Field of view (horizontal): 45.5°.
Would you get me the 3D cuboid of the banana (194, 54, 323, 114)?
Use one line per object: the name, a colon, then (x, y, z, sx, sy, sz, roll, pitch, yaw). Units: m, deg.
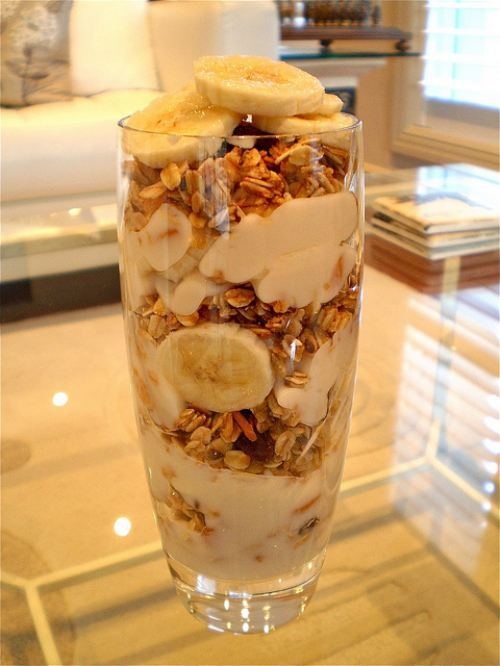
banana: (0.005, -0.144, 0.344, 0.062, 0.015, 0.062, -15, 43, -31)
